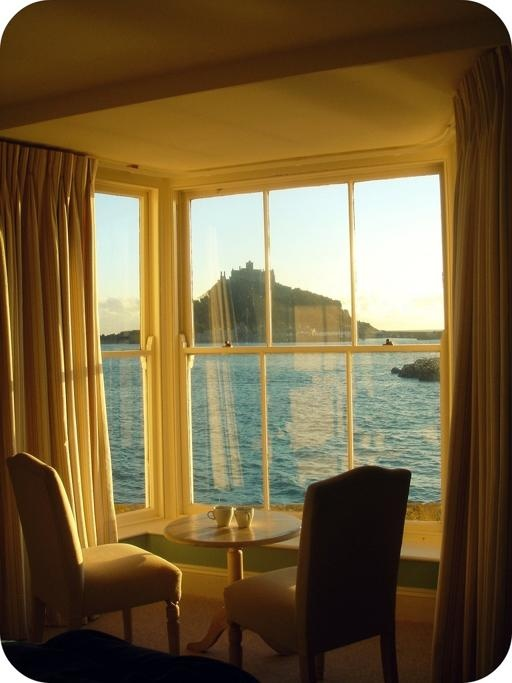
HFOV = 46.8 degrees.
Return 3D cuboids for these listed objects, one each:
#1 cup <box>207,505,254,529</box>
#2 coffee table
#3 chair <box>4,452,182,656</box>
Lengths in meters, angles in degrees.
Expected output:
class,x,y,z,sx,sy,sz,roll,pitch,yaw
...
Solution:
class,x,y,z,sx,sy,sz,roll,pitch,yaw
cup,-0.129,0.774,2.660,0.173,0.067,0.112,-8,-12,38
coffee table,-0.131,1.031,2.650,0.657,0.514,0.692,-9,-11,41
chair,-0.654,0.858,2.442,0.644,0.844,0.373,-2,3,-27
